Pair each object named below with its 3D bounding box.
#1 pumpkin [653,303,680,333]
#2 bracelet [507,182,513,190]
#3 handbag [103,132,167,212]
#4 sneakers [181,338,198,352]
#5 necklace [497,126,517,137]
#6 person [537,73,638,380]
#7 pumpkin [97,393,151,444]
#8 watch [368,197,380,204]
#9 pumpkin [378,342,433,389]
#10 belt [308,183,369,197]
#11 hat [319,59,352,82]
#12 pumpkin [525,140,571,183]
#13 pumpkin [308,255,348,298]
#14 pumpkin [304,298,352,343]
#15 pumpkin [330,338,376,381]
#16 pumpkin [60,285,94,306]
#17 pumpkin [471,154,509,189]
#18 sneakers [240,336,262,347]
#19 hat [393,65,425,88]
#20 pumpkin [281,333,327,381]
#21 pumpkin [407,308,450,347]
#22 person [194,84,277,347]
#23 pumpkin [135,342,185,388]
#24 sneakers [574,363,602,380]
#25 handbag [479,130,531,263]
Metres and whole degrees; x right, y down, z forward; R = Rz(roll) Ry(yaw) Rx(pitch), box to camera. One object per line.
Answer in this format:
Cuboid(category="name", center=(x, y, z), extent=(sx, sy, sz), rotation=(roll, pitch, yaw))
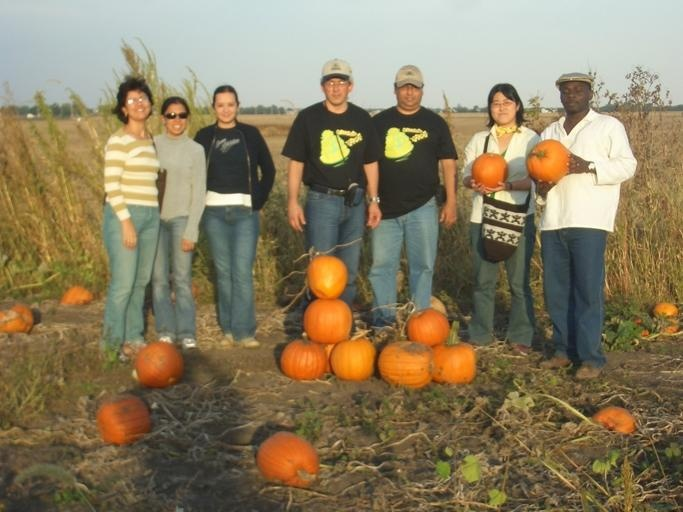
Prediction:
Cuboid(category="pumpkin", center=(4.069, 0.773, 8.089), extent=(0.304, 0.433, 0.327), rotation=(-1, 1, 13))
Cuboid(category="bracelet", center=(1.857, -0.781, 7.144), extent=(0.068, 0.077, 0.022), rotation=(2, 1, -18))
Cuboid(category="handbag", center=(-2.337, -0.944, 7.306), extent=(0.516, 1.050, 0.888), rotation=(4, 6, 18))
Cuboid(category="sneakers", center=(-1.781, 1.023, 7.526), extent=(0.123, 0.145, 0.131), rotation=(6, 9, 31))
Cuboid(category="necklace", center=(1.874, -1.431, 7.354), extent=(0.139, 0.098, 0.113), rotation=(-5, -1, 5))
Cuboid(category="person", center=(2.530, -0.321, 6.814), extent=(0.931, 3.145, 0.683), rotation=(4, 10, 26))
Cuboid(category="pumpkin", center=(-1.964, 1.396, 5.798), extent=(0.454, 0.430, 0.384), rotation=(4, 7, -22))
Cuboid(category="watch", center=(0.381, -0.654, 7.569), extent=(0.094, 0.082, 0.108), rotation=(1, 1, -28))
Cuboid(category="pumpkin", center=(0.633, 1.106, 6.626), extent=(0.604, 0.503, 0.466), rotation=(5, 26, 16))
Cuboid(category="belt", center=(-0.060, -0.759, 7.352), extent=(0.617, 0.135, 0.195), rotation=(-1, 11, 1))
Cuboid(category="hat", center=(-0.068, -2.029, 7.052), extent=(0.326, 0.233, 0.245), rotation=(-2, 11, -3))
Cuboid(category="pumpkin", center=(2.136, -0.973, 6.687), extent=(0.424, 0.451, 0.195), rotation=(3, 10, 19))
Cuboid(category="pumpkin", center=(-0.138, 0.192, 7.196), extent=(0.418, 0.543, 0.435), rotation=(-6, 19, -27))
Cuboid(category="pumpkin", center=(-0.160, 0.688, 7.170), extent=(0.523, 0.550, 0.580), rotation=(2, 17, 2))
Cuboid(category="pumpkin", center=(0.133, 1.097, 6.801), extent=(0.373, 0.413, 0.403), rotation=(-1, 5, -12))
Cuboid(category="pumpkin", center=(-3.779, 0.589, 9.148), extent=(0.286, 0.109, 0.300), rotation=(-3, 28, -10))
Cuboid(category="pumpkin", center=(1.667, -0.987, 7.273), extent=(0.414, 0.430, 0.411), rotation=(-17, 17, -34))
Cuboid(category="sneakers", center=(-1.106, 1.022, 7.640), extent=(0.103, 0.103, 0.214), rotation=(3, -11, -36))
Cuboid(category="hat", center=(0.746, -2.013, 7.206), extent=(0.288, 0.243, 0.277), rotation=(0, 11, 5))
Cuboid(category="pumpkin", center=(-0.400, 1.058, 6.864), extent=(0.390, 0.426, 0.416), rotation=(1, 4, -16))
Cuboid(category="pumpkin", center=(0.916, 0.785, 6.931), extent=(0.338, 0.366, 0.371), rotation=(-6, -7, 11))
Cuboid(category="person", center=(-1.252, -0.438, 7.602), extent=(0.854, 3.048, 0.589), rotation=(-3, 9, -15))
Cuboid(category="pumpkin", center=(-1.905, 1.162, 6.669), extent=(0.434, 0.479, 0.407), rotation=(4, -16, -45))
Cuboid(category="sneakers", center=(2.586, 1.219, 6.767), extent=(0.276, 0.136, 0.129), rotation=(5, -8, -19))
Cuboid(category="handbag", center=(1.784, -0.706, 7.116), extent=(0.598, 1.488, 0.326), rotation=(23, 36, 36))
